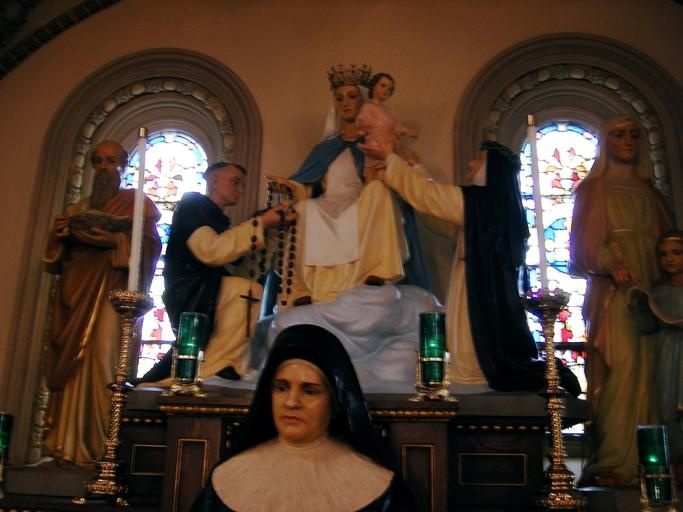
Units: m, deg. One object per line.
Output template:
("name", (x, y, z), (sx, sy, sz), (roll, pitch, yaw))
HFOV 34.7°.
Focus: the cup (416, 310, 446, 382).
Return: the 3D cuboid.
("cup", (0.523, 0.528, 6.266), (0.150, 0.415, 0.077), (-1, -20, 2))
